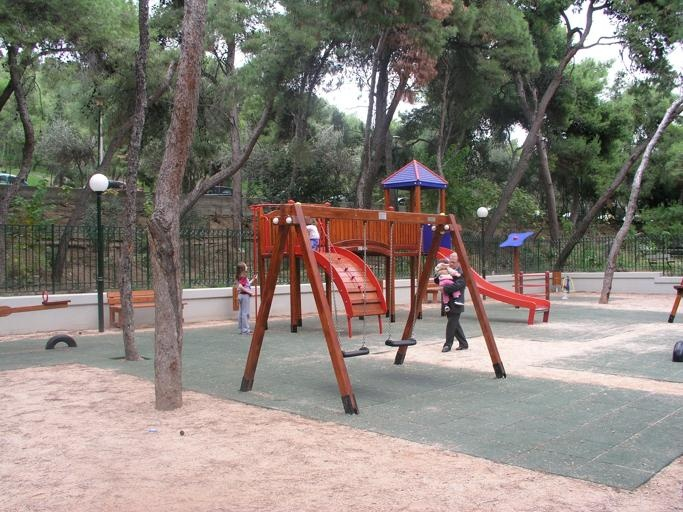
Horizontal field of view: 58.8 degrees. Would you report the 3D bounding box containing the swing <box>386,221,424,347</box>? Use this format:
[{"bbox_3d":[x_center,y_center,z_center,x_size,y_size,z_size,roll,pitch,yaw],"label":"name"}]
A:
[{"bbox_3d":[1.732,0.711,16.775,0.658,3.038,0.764,-5,10,-43],"label":"swing"}]

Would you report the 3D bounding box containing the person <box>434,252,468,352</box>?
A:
[{"bbox_3d":[2.166,0.924,12.740,0.726,2.150,1.042,-1,-1,43],"label":"person"}]

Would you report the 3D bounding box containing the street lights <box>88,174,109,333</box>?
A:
[{"bbox_3d":[-7.372,-0.005,18.348,0.581,6.602,0.774,0,10,-17],"label":"street lights"}]

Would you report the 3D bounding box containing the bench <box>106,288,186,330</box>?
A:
[{"bbox_3d":[-5.405,1.437,16.922,0.715,1.016,2.106,-3,-3,40],"label":"bench"}]
